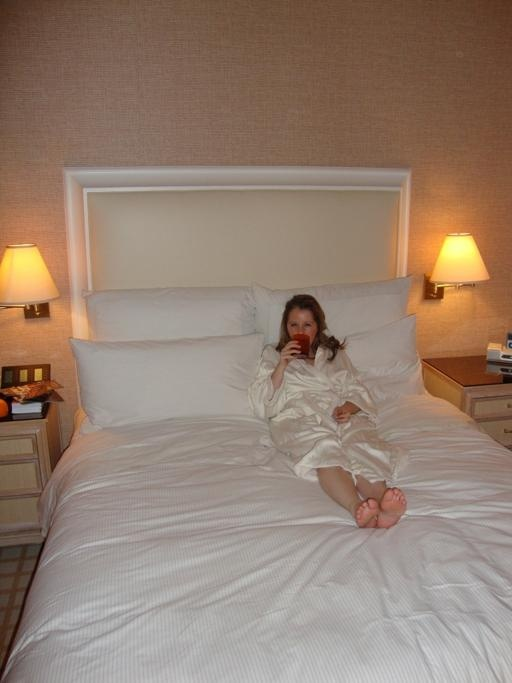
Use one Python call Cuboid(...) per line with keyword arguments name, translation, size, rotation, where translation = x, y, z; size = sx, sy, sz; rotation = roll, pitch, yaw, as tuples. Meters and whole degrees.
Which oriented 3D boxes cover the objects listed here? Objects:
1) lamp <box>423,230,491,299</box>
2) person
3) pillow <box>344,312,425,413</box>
Cuboid(name="lamp", translation=(1.025, -0.364, 2.612), size=(0.316, 0.378, 0.322), rotation=(-5, 12, -3))
Cuboid(name="person", translation=(0.230, 0.191, 1.749), size=(0.332, 0.361, 0.799), rotation=(-13, 30, -1))
Cuboid(name="pillow", translation=(0.563, 0.075, 2.231), size=(0.385, 0.340, 0.111), rotation=(-20, 0, -21))
